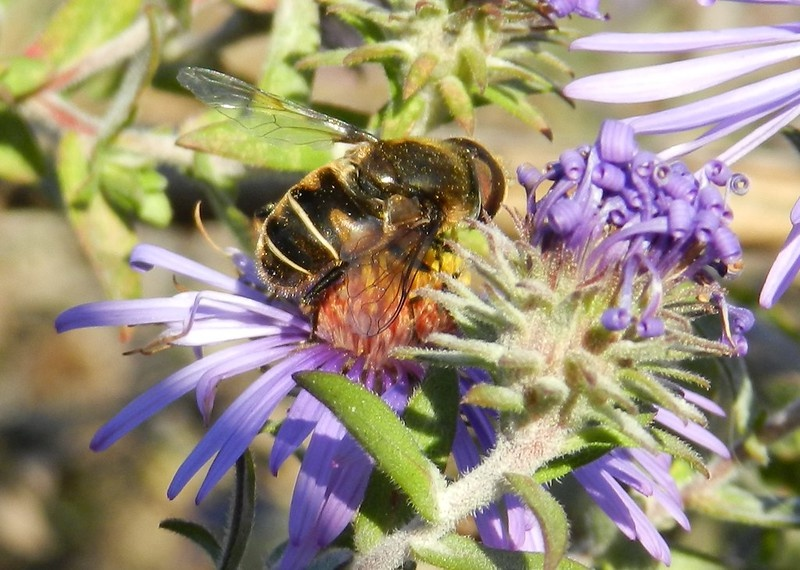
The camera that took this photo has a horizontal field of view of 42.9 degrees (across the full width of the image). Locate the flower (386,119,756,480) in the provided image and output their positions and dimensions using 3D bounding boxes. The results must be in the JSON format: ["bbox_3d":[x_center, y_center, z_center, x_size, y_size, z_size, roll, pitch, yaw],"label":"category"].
[{"bbox_3d":[0.419,0.051,2.162,0.607,0.339,0.782,33,73,14],"label":"flower"}]

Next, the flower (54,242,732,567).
[{"bbox_3d":[-0.154,0.295,2.408,0.998,0.975,0.261,40,110,51],"label":"flower"}]
